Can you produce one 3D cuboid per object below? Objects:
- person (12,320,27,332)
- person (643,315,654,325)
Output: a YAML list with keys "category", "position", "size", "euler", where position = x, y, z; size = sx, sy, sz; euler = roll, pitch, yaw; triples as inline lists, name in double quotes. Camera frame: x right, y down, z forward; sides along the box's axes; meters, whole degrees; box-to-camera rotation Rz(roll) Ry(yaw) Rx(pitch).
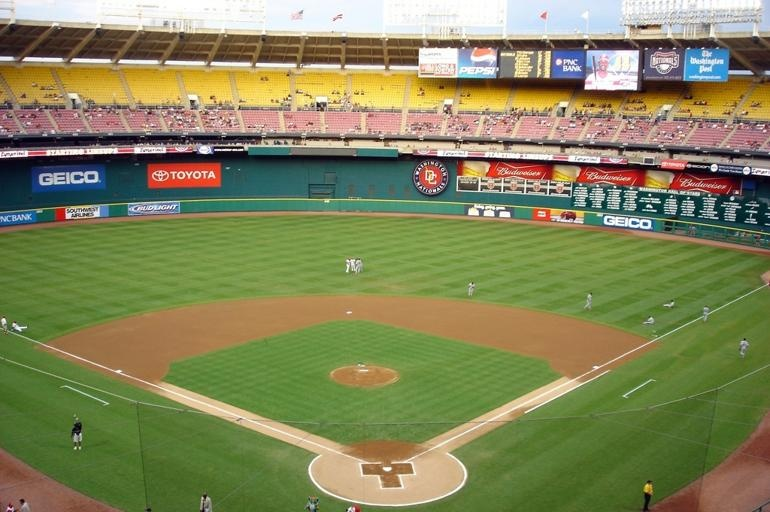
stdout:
- category: "person"
  position: [-24.787, 4.788, 43.862]
  size: [1.124, 0.381, 0.704]
  euler: [5, 9, 33]
- category: "person"
  position: [19.158, 4.674, 46.986]
  size: [1.012, 0.563, 0.588]
  euler: [0, 1, 19]
